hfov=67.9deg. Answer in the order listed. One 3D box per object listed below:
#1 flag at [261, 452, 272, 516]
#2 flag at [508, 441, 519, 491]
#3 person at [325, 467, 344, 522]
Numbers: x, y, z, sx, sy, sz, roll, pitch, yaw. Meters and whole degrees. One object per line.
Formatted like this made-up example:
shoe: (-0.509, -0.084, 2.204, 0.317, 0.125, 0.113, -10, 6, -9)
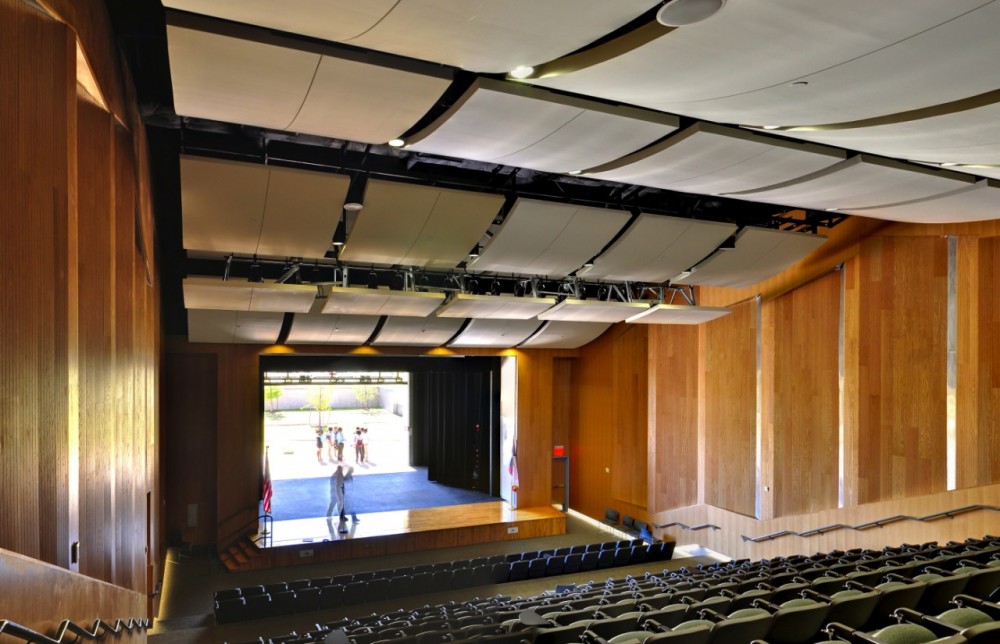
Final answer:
flag: (-6.016, 4.098, 18.992, 0.202, 1.585, 1.350, 1, -9, -18)
flag: (0.403, 4.192, 21.603, 0.228, 1.381, 0.316, -1, -9, -3)
person: (-4.436, 4.565, 19.905, 0.429, 1.428, 0.811, 2, -9, -24)
